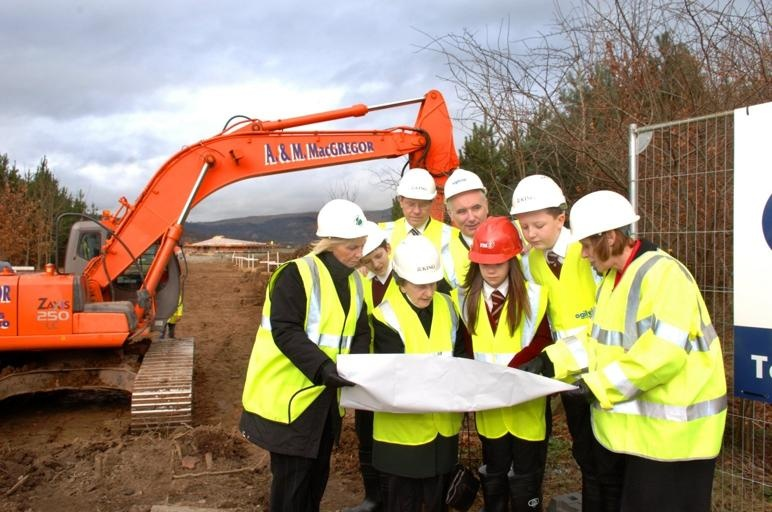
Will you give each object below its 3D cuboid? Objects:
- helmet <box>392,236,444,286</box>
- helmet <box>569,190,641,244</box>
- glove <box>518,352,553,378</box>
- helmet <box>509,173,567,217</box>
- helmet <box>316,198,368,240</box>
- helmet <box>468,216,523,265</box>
[{"bbox_3d":[0.320,0.053,6.576,0.363,0.262,0.498,-13,30,-17],"label":"helmet"},{"bbox_3d":[2.007,-0.367,6.220,0.537,0.313,0.433,-14,2,-10],"label":"helmet"},{"bbox_3d":[1.490,1.059,6.511,0.247,0.260,0.093,-9,4,-2],"label":"glove"},{"bbox_3d":[1.546,-0.607,6.829,0.476,0.272,0.360,-10,-2,-38],"label":"helmet"},{"bbox_3d":[-0.388,-0.336,6.578,0.537,0.365,0.657,-2,3,-39],"label":"helmet"},{"bbox_3d":[1.112,-0.161,6.697,0.384,0.293,0.516,5,20,30],"label":"helmet"}]
